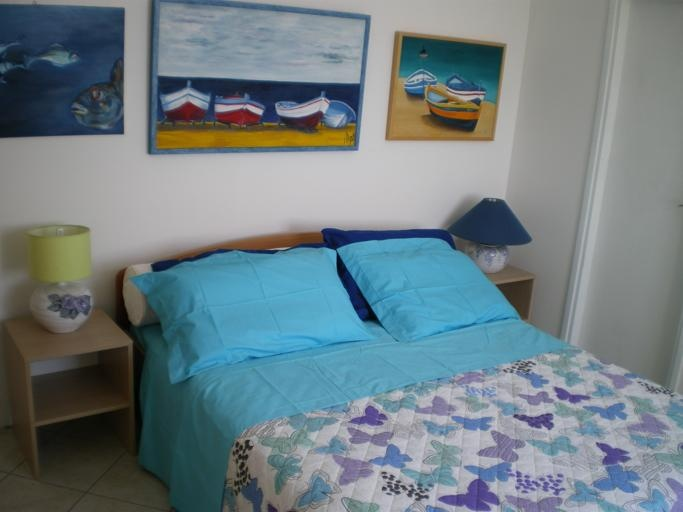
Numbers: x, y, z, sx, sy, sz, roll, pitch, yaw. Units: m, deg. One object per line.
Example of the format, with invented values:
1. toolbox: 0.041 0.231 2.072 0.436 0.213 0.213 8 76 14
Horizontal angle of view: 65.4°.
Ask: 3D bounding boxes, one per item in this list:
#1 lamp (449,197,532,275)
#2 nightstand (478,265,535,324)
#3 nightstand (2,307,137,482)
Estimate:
1. lamp: 0.956 -0.184 3.523 0.512 0.443 0.520 10 19 39
2. nightstand: 1.025 0.238 3.321 0.339 0.301 0.218 -9 23 -22
3. nightstand: -1.277 0.595 2.773 0.674 0.701 0.743 -8 17 -30
